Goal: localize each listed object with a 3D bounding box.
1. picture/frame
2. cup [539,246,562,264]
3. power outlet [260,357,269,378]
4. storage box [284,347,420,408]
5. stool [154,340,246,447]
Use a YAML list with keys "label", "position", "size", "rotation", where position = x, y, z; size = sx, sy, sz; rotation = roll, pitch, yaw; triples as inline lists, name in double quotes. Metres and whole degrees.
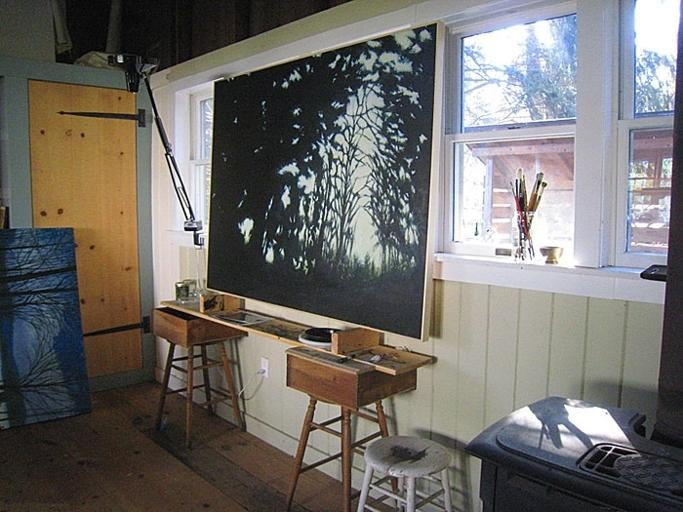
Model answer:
- label: "picture/frame"
  position: [-0.246, -0.410, 3.166]
  size: [1.935, 1.614, 0.070]
  rotation: [8, 8, 42]
- label: "cup"
  position: [1.023, -0.011, 2.493]
  size: [0.083, 0.068, 0.090]
  rotation: [-2, 6, 0]
- label: "power outlet"
  position: [-0.560, 0.795, 3.690]
  size: [0.020, 0.181, 0.128]
  rotation: [-7, 13, -38]
- label: "storage box"
  position: [0.105, 0.622, 2.843]
  size: [0.431, 0.178, 0.437]
  rotation: [6, 7, 43]
- label: "stool"
  position: [-1.183, 0.924, 3.953]
  size: [0.535, 0.748, 0.823]
  rotation: [-9, 14, -43]
